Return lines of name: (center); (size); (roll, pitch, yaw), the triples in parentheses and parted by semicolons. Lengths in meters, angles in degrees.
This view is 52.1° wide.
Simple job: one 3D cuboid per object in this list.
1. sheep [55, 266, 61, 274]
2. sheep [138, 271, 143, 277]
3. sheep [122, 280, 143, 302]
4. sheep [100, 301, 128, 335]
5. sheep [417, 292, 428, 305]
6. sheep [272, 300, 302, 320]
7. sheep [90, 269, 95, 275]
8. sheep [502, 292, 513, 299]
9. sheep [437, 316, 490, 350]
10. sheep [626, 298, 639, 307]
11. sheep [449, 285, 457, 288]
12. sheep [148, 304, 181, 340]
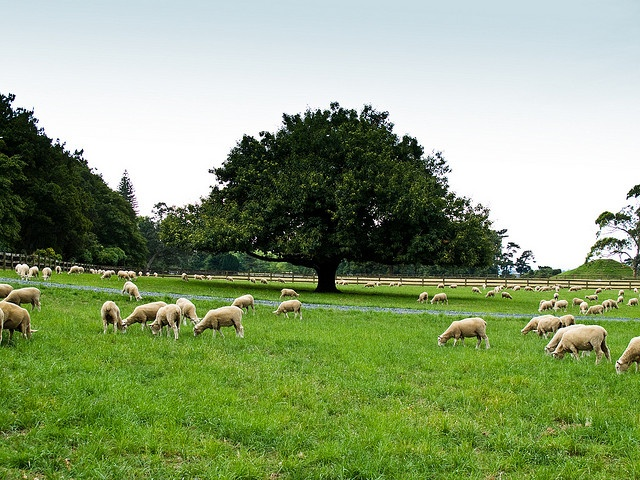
sheep: (-19.709, 2.271, 49.226); (0.357, 0.610, 1.122); (-1, -9, -18)
sheep: (-23.672, 4.485, 85.914); (0.636, 0.808, 0.715); (0, -5, -7)
sheep: (-9.140, 2.560, 32.294); (0.622, 1.051, 2.109); (3, 4, -38)
sheep: (-7.359, 2.791, 23.376); (0.797, 1.117, 0.765); (-1, 11, -23)
sheep: (7.119, 4.007, 45.129); (0.548, 0.543, 1.035); (7, 11, 18)
sheep: (-1.417, 3.204, 30.196); (1.181, 0.892, 1.451); (3, 11, -3)
sheep: (-20.705, 2.883, 59.481); (0.596, 0.356, 0.801); (-1, 7, -8)
sheep: (15.399, 4.624, 54.048); (0.808, 0.565, 0.374); (5, 6, 42)
sheep: (5.486, 3.540, 24.819); (1.923, 1.135, 1.478); (5, 11, 9)
sheep: (23.519, 4.710, 49.289); (0.521, 0.802, 1.548); (2, 5, 29)
sheep: (14.982, 5.301, 73.187); (0.755, 0.443, 0.336); (-1, 9, -16)
sheep: (-5.678, 3.097, 24.022); (1.682, 1.276, 0.619); (-17, -15, 40)
